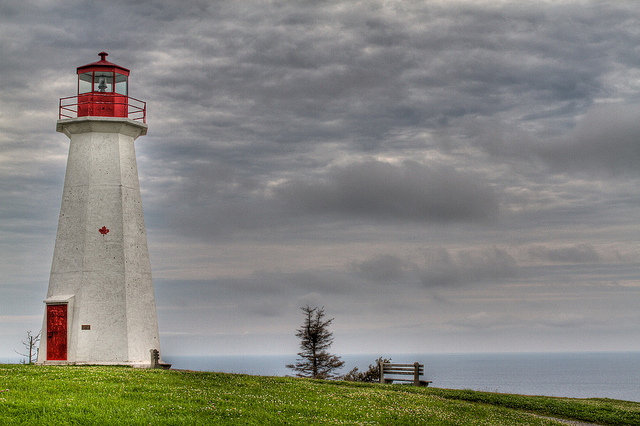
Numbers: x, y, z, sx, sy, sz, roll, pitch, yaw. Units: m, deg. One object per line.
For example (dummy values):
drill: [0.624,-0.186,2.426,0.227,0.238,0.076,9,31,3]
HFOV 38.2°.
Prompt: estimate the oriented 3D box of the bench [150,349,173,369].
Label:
bench: [-14.409,13.078,82.856,1.119,1.741,1.888,-16,-20,35]
